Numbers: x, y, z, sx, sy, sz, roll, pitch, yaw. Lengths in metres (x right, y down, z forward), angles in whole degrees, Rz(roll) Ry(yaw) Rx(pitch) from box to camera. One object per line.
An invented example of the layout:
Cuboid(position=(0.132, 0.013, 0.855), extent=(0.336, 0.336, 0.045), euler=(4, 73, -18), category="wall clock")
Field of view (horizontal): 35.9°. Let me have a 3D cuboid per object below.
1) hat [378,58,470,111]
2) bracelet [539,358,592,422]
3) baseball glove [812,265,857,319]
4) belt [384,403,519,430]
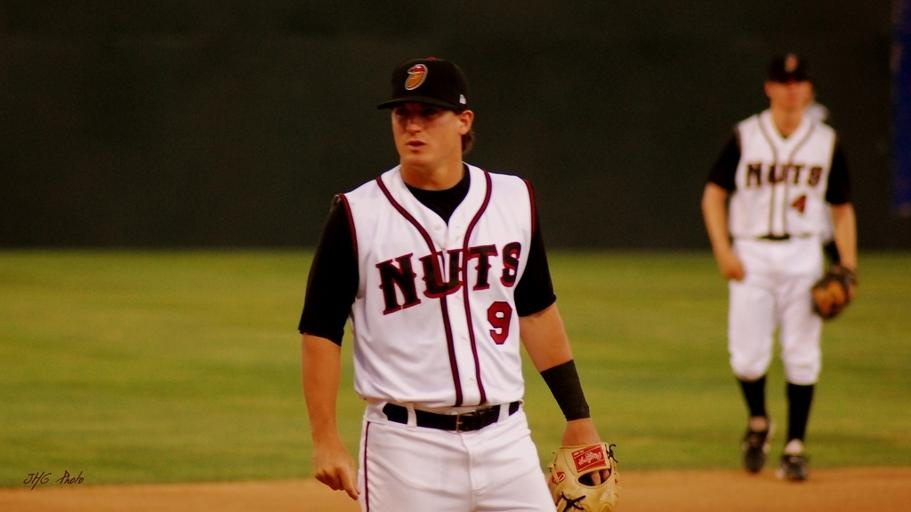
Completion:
Cuboid(position=(-0.355, -1.996, 16.353), extent=(1.056, 0.610, 1.263), euler=(0, 5, 0), category="hat")
Cuboid(position=(1.304, 1.541, 16.377), extent=(0.386, 0.872, 0.415), euler=(2, -1, -5), category="bracelet")
Cuboid(position=(4.914, 0.490, 18.281), extent=(0.553, 0.706, 0.334), euler=(0, 6, 11), category="baseball glove")
Cuboid(position=(-0.135, 1.856, 16.027), extent=(1.370, 0.321, 0.080), euler=(-1, 6, -3), category="belt")
